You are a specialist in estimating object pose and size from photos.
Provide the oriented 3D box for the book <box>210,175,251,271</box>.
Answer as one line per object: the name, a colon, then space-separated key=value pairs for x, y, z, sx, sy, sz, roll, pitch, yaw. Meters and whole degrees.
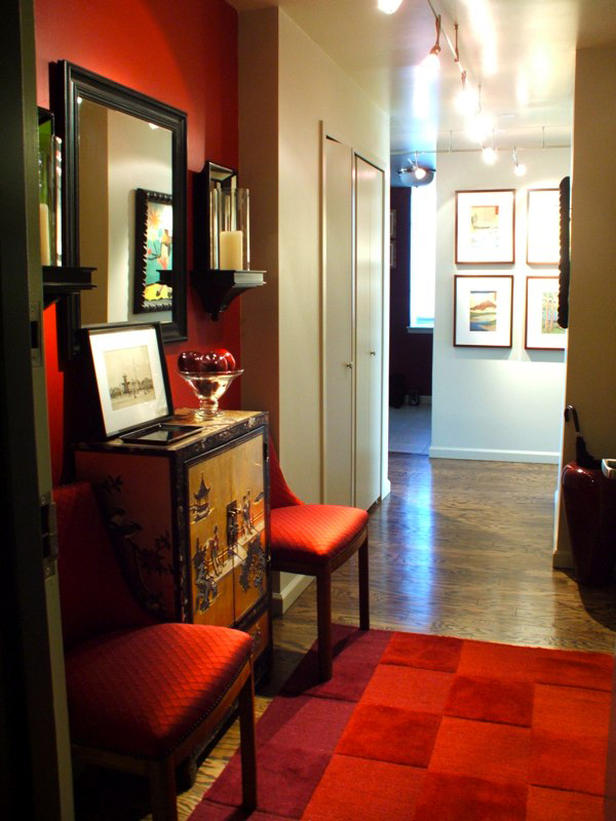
book: x=-0.300 y=-0.690 z=2.425 sx=0.148 sy=0.308 sz=0.092 roll=-1 pitch=5 yaw=-17

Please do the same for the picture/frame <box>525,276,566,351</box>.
picture/frame: x=2.200 y=-0.891 z=5.824 sx=0.391 sy=0.820 sz=0.054 roll=10 pitch=49 yaw=27

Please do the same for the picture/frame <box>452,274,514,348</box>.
picture/frame: x=1.643 y=-0.945 z=6.010 sx=0.527 sy=0.804 sz=0.046 roll=4 pitch=44 yaw=19

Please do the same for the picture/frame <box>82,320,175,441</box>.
picture/frame: x=-0.528 y=-0.150 z=1.900 sx=0.018 sy=0.209 sz=0.299 roll=-5 pitch=3 yaw=28

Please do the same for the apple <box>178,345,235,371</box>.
apple: x=-0.337 y=-0.165 z=2.134 sx=0.180 sy=0.077 sz=0.089 roll=-2 pitch=6 yaw=-21

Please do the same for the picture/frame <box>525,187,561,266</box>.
picture/frame: x=2.227 y=-1.603 z=5.819 sx=0.455 sy=0.960 sz=0.042 roll=14 pitch=59 yaw=28

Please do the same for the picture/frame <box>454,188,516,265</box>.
picture/frame: x=1.657 y=-1.733 z=5.912 sx=0.532 sy=0.838 sz=0.050 roll=2 pitch=11 yaw=12
